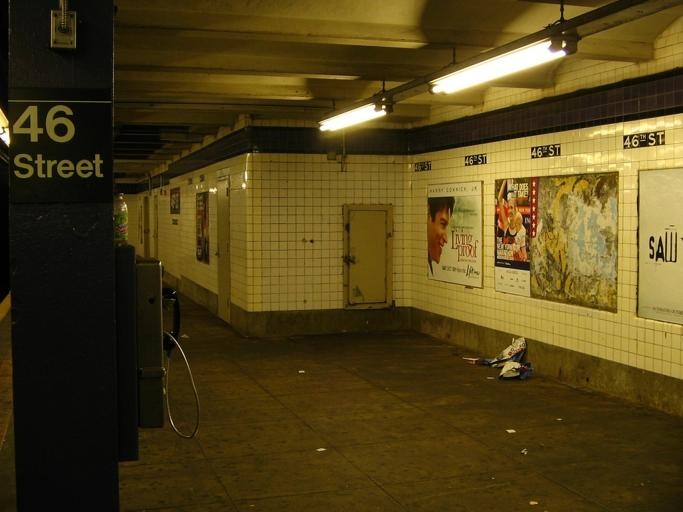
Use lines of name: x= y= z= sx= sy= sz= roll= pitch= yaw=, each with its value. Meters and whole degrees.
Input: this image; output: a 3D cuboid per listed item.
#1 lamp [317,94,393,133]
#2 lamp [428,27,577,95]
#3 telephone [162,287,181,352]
lamp: x=0.119 y=-2.317 z=8.691 sx=1.551 sy=0.384 sz=0.264 roll=-7 pitch=24 yaw=42
lamp: x=1.599 y=-2.062 z=5.933 sx=0.293 sy=0.211 sz=1.705 roll=12 pitch=-8 yaw=-36
telephone: x=-1.254 y=0.490 z=3.968 sx=0.088 sy=0.474 sz=0.156 roll=-3 pitch=-5 yaw=-5
